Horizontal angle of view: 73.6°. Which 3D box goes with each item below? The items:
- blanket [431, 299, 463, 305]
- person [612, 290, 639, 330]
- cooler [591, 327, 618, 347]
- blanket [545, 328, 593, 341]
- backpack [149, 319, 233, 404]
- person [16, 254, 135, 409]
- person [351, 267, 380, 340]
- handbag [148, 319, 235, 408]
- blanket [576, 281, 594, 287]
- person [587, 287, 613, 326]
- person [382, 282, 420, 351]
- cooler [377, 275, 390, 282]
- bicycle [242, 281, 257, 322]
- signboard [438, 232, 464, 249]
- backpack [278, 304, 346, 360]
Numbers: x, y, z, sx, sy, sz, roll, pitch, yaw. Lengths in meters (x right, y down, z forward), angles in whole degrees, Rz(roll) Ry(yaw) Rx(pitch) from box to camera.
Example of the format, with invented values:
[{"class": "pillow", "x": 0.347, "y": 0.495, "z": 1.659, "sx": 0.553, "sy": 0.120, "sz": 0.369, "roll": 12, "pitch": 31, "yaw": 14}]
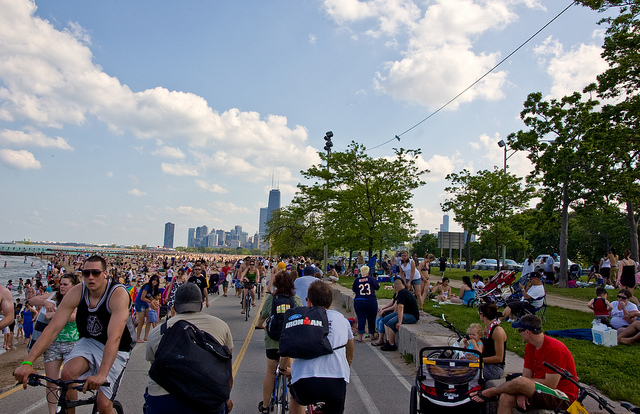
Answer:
[{"class": "blanket", "x": 5.797, "y": 4.241, "z": 19.199, "sx": 0.904, "sy": 0.197, "sz": 0.668, "roll": 1, "pitch": -12, "yaw": 15}, {"class": "person", "x": 8.980, "y": 2.998, "z": 12.619, "sx": 0.489, "sy": 1.094, "sz": 0.730, "roll": 13, "pitch": -13, "yaw": -39}, {"class": "cooler", "x": 7.737, "y": 3.522, "z": 11.654, "sx": 0.379, "sy": 0.476, "sz": 0.704, "roll": 1, "pitch": -11, "yaw": -7}, {"class": "blanket", "x": 7.347, "y": 3.691, "z": 12.605, "sx": 1.149, "sy": 0.266, "sz": 0.887, "roll": -4, "pitch": -14, "yaw": 35}, {"class": "backpack", "x": -1.934, "y": 2.285, "z": 6.280, "sx": 0.918, "sy": 0.893, "sz": 0.476, "roll": 37, "pitch": -35, "yaw": -19}, {"class": "person", "x": -3.846, "y": 2.049, "z": 7.117, "sx": 1.268, "sy": 2.499, "sz": 0.829, "roll": 4, "pitch": -10, "yaw": 2}, {"class": "person", "x": 1.382, "y": 3.049, "z": 13.449, "sx": 0.782, "sy": 2.258, "sz": 1.510, "roll": 3, "pitch": -10, "yaw": 5}, {"class": "handbag", "x": -1.924, "y": 2.300, "z": 6.291, "sx": 0.916, "sy": 0.942, "sz": 0.621, "roll": 35, "pitch": -57, "yaw": -24}, {"class": "blanket", "x": 16.482, "y": 4.760, "z": 26.673, "sx": 0.692, "sy": 0.368, "sz": 2.441, "roll": -5, "pitch": -14, "yaw": 39}, {"class": "person", "x": 9.010, "y": 3.123, "z": 13.688, "sx": 0.506, "sy": 1.143, "sz": 0.906, "roll": -3, "pitch": -13, "yaw": 34}, {"class": "person", "x": 2.419, "y": 3.274, "z": 12.859, "sx": 1.025, "sy": 2.054, "sz": 0.597, "roll": 3, "pitch": -10, "yaw": 9}, {"class": "cooler", "x": 4.304, "y": 4.857, "z": 29.370, "sx": 0.798, "sy": 0.407, "sz": 0.701, "roll": 3, "pitch": -11, "yaw": 8}, {"class": "bicycle", "x": -2.978, "y": 3.730, "z": 17.257, "sx": 0.444, "sy": 1.446, "sz": 1.304, "roll": 6, "pitch": -11, "yaw": -8}, {"class": "signboard", "x": 11.266, "y": 2.810, "z": 37.038, "sx": 3.078, "sy": 1.993, "sz": 0.323, "roll": 0, "pitch": 0, "yaw": -5}, {"class": "backpack", "x": -0.192, "y": 1.964, "z": 7.053, "sx": 0.880, "sy": 0.353, "sz": 1.077, "roll": -2, "pitch": 25, "yaw": 6}]
